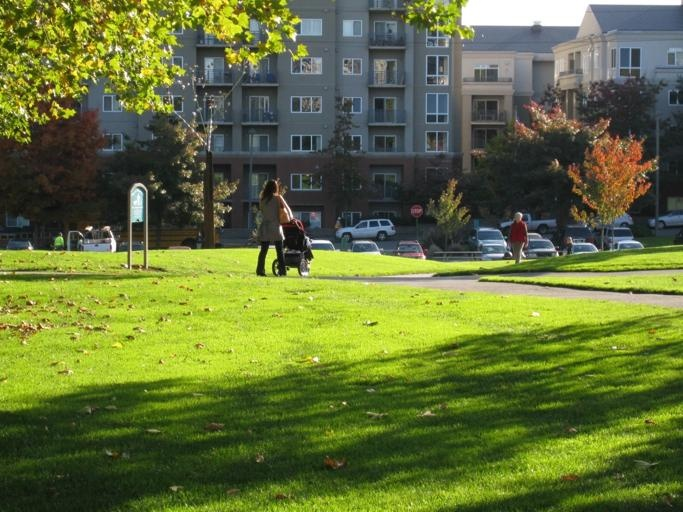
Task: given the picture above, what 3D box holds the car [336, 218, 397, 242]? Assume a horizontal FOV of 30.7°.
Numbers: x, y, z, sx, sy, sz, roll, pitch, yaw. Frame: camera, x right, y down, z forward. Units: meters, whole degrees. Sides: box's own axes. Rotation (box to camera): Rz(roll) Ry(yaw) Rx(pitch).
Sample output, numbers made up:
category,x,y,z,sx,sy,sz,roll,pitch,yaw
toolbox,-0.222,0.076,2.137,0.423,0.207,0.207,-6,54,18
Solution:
category,x,y,z,sx,sy,sz,roll,pitch,yaw
car,1.603,-1.728,77.819,3.215,1.375,1.536,1,0,-7
